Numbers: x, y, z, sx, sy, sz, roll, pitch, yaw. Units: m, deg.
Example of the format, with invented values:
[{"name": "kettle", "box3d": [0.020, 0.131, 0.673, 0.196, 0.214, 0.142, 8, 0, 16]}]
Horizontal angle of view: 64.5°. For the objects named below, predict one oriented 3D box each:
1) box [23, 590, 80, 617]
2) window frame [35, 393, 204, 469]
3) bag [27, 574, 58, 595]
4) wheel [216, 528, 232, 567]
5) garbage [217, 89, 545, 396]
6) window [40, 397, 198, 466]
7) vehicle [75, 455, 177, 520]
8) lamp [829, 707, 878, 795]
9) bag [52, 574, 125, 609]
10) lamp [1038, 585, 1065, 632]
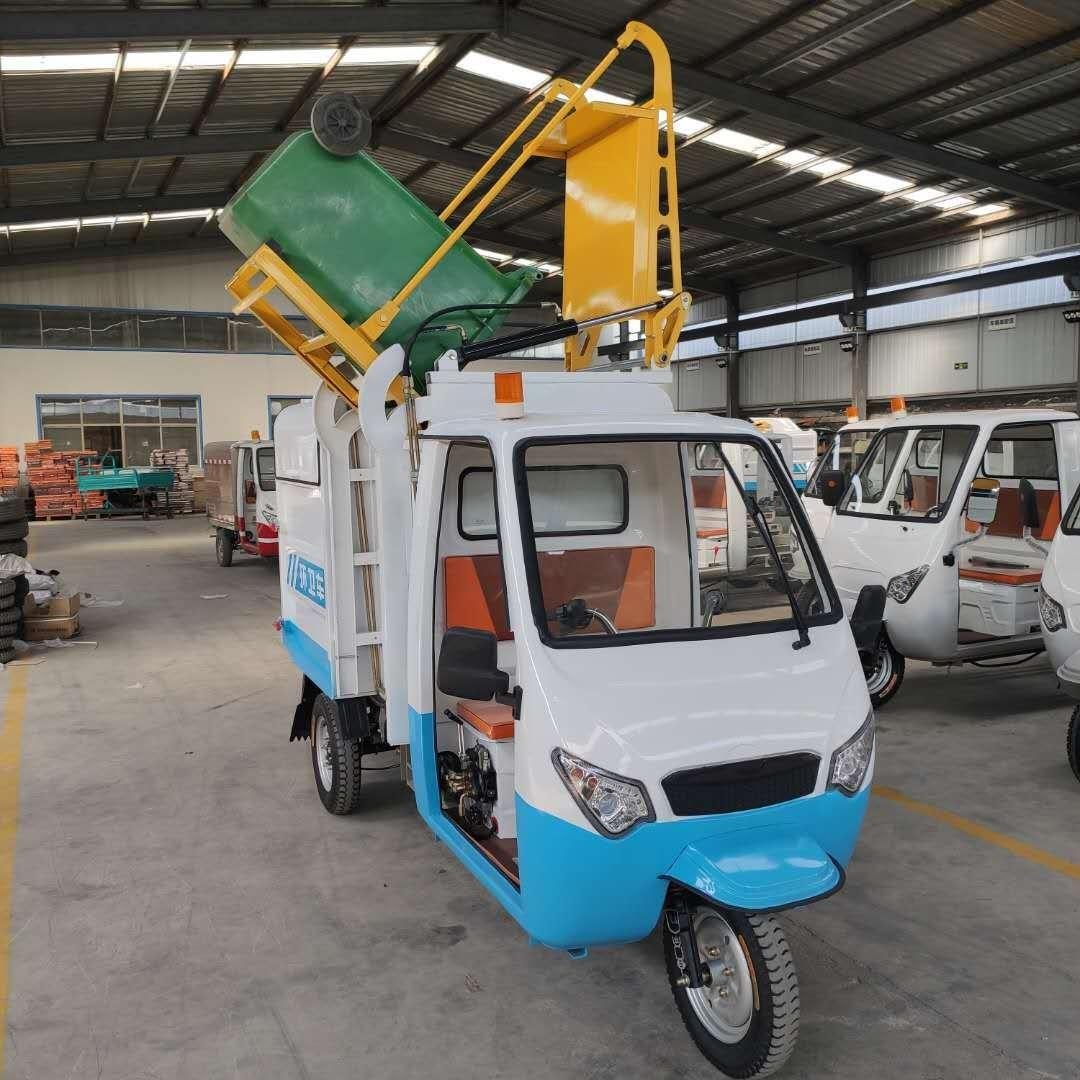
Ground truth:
[{"name": "box", "box3d": [-5.178, 0.681, 9.133, 0.300, 0.169, 0.289, -1, 3, -5]}, {"name": "window frame", "box3d": [-12.711, -3.224, 25.998, 4.753, 2.397, 0.234, -1, -2, -6]}, {"name": "bag", "box3d": [-5.322, 0.481, 9.135, 0.236, 0.106, 0.310, -2, 6, -38]}, {"name": "wheel", "box3d": [-5.337, 0.124, 14.484, 0.178, 0.576, 0.532, -4, -17, -33]}, {"name": "garbage", "box3d": [-0.625, -1.304, 4.452, 1.718, 1.046, 1.139, 40, -11, -12]}, {"name": "window", "box3d": [-12.714, -3.212, 26.012, 4.780, 2.393, 0.219, -2, 0, -8]}, {"name": "vehicle", "box3d": [-11.659, -1.422, 24.350, 2.635, 1.789, 1.635, 0, 5, 18]}, {"name": "lamp", "box3d": [0.936, 0.656, 2.674, 0.146, 0.239, 0.066, 16, -4, -42]}, {"name": "bag", "box3d": [-5.731, 0.713, 10.718, 0.758, 0.294, 0.937, 0, 9, 6]}, {"name": "lamp", "box3d": [2.903, 0.422, 4.891, 0.087, 0.183, 0.136, -8, 11, 18]}]
